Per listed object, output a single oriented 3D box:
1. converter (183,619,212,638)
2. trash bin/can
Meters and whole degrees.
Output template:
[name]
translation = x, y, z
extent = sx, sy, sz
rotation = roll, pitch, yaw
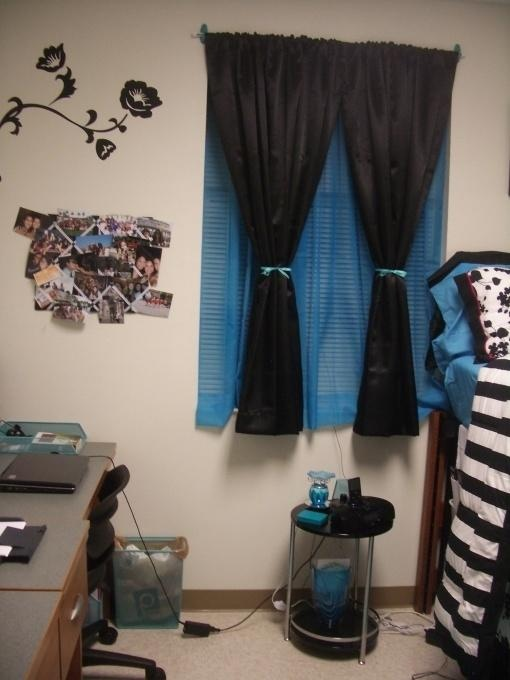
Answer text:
[converter]
translation = -0.227, 1.121, 2.241
extent = 0.096, 0.058, 0.031
rotation = 9, 4, -8
[trash bin/can]
translation = -0.427, 1.048, 2.291
extent = 0.342, 0.232, 0.348
rotation = 2, 36, -15
